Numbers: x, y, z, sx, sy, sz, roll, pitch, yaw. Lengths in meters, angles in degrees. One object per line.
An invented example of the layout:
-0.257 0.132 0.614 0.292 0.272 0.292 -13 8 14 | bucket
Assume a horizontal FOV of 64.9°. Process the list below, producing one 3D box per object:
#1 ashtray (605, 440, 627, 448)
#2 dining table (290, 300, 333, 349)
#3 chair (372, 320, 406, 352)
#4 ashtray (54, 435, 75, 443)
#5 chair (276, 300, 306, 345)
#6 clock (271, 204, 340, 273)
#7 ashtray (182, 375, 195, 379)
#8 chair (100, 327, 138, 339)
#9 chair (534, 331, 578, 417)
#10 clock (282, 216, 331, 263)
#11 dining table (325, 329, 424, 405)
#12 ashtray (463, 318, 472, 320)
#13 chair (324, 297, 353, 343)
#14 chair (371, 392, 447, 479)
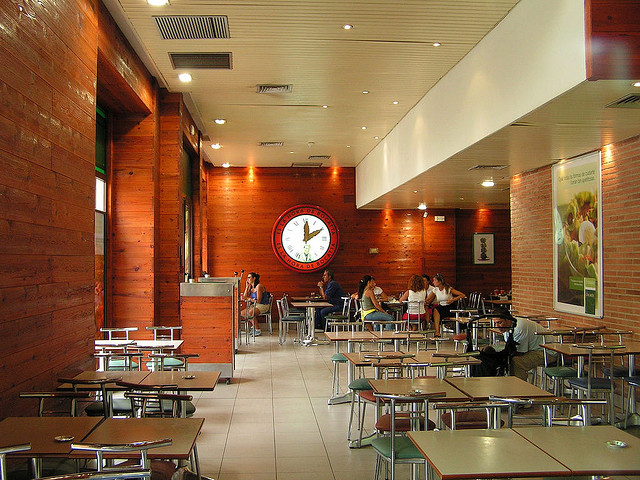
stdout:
1.702 1.170 2.897 0.122 0.015 0.108 -1 -1 3 | ashtray
-0.177 1.841 11.246 1.088 0.844 0.966 1 -1 -1 | dining table
0.984 1.375 7.341 0.623 0.473 0.562 0 2 14 | chair
-1.512 1.172 2.974 0.105 0.013 0.119 0 -2 -27 | ashtray
-0.628 1.864 11.442 0.736 0.855 0.575 0 -4 10 | chair
-0.465 -0.007 13.297 2.290 1.797 0.208 1 -4 -2 | clock
-1.139 1.190 4.362 0.092 0.009 0.144 0 -2 -26 | ashtray
-2.745 1.267 6.843 0.359 0.284 0.191 1 -18 -8 | chair
2.871 1.582 6.071 0.590 0.816 0.545 4 4 -30 | chair
-0.379 -0.004 13.368 2.001 1.658 0.206 2 2 36 | clock
0.789 1.503 6.151 0.525 0.569 0.953 15 16 42 | dining table
2.501 1.347 8.555 0.114 0.025 0.109 1 -3 -7 | ashtray
0.405 1.774 11.604 0.723 0.832 0.665 -5 0 2 | chair
0.670 1.536 3.782 0.539 0.829 0.661 -1 -1 6 | chair
